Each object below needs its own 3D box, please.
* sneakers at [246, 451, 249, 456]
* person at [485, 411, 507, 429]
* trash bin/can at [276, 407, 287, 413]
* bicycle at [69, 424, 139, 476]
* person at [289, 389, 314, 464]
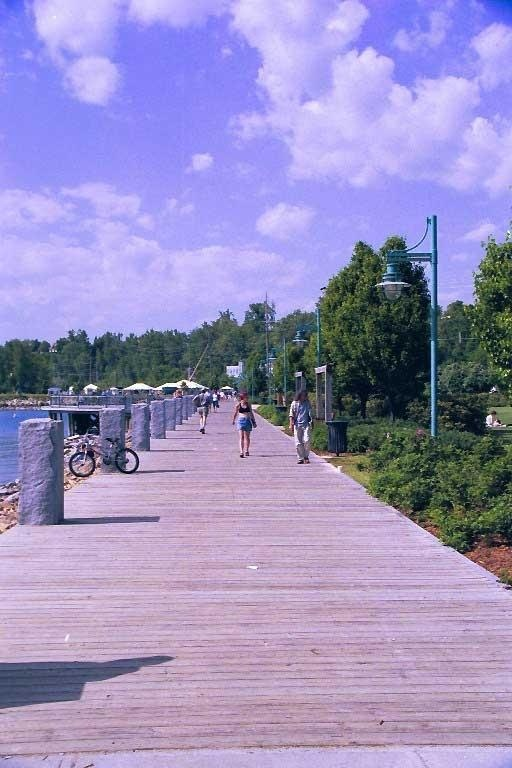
[{"bbox_3d":[-0.190,1.414,19.443,0.065,0.121,0.066,1,1,3],"label":"sneakers"},{"bbox_3d":[11.725,1.769,46.867,0.790,0.490,0.799,-2,3,17],"label":"person"},{"bbox_3d":[1.280,1.302,49.100,0.421,0.408,0.303,-1,-2,14],"label":"trash bin/can"},{"bbox_3d":[-2.644,1.144,15.891,1.462,0.912,0.733,2,-5,5],"label":"bicycle"},{"bbox_3d":[0.811,0.790,17.698,0.372,1.371,0.781,0,3,2],"label":"person"}]
